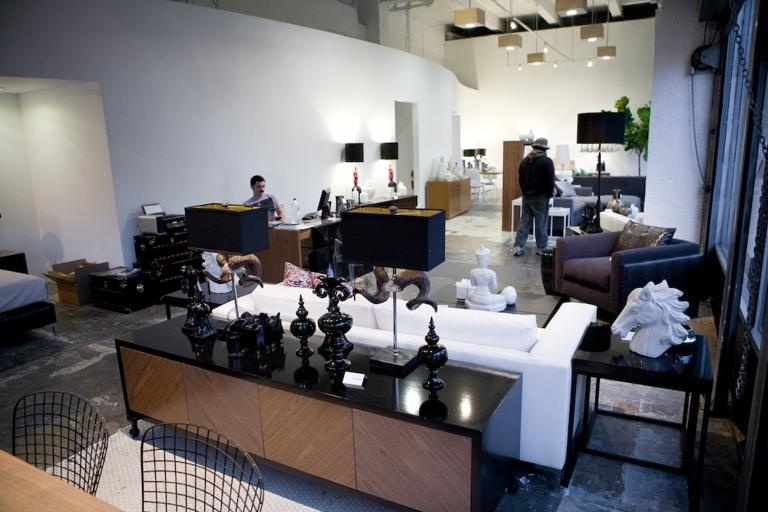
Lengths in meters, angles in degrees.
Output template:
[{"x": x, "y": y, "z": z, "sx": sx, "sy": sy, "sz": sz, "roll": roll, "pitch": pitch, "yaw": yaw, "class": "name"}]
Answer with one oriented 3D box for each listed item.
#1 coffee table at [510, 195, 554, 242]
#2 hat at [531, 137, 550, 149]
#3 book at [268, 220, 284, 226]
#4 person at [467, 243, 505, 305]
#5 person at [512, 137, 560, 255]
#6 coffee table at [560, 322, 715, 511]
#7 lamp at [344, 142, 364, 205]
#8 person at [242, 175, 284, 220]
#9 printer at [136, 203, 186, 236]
[{"x": 3.047, "y": -0.680, "z": 10.570, "sx": 0.836, "sy": 0.975, "sz": 1.071, "roll": -3, "pitch": 2, "yaw": 4, "class": "coffee table"}, {"x": 2.655, "y": -1.930, "z": 8.914, "sx": 0.227, "sy": 0.149, "sz": 0.271, "roll": 13, "pitch": 0, "yaw": 25, "class": "hat"}, {"x": -1.616, "y": -0.485, "z": 7.816, "sx": 0.222, "sy": 0.061, "sz": 0.246, "roll": 1, "pitch": 7, "yaw": 23, "class": "book"}, {"x": 1.249, "y": 0.227, "z": 6.452, "sx": 0.574, "sy": 0.804, "sz": 0.380, "roll": 5, "pitch": 17, "yaw": 23, "class": "person"}, {"x": 2.571, "y": -1.039, "z": 9.091, "sx": 0.671, "sy": 1.964, "sz": 0.746, "roll": -1, "pitch": 11, "yaw": 14, "class": "person"}, {"x": 2.023, "y": 1.217, "z": 4.497, "sx": 1.158, "sy": 1.287, "sz": 1.308, "roll": 4, "pitch": 11, "yaw": 27, "class": "coffee table"}, {"x": -0.575, "y": -1.628, "z": 10.424, "sx": 0.402, "sy": 1.178, "sz": 0.408, "roll": -1, "pitch": 5, "yaw": 18, "class": "lamp"}, {"x": -1.783, "y": -0.790, "z": 7.743, "sx": 0.594, "sy": 0.786, "sz": 0.581, "roll": -13, "pitch": 18, "yaw": -27, "class": "person"}, {"x": -3.175, "y": -0.507, "z": 7.493, "sx": 0.604, "sy": 0.434, "sz": 0.615, "roll": 3, "pitch": 10, "yaw": 15, "class": "printer"}]
